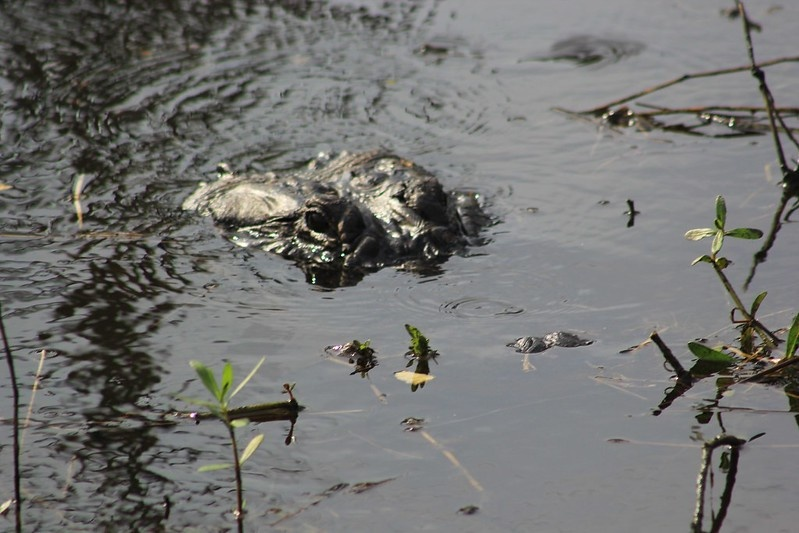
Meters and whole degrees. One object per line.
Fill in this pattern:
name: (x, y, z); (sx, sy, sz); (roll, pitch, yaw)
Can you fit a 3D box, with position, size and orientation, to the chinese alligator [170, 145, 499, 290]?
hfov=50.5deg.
chinese alligator: (-0.726, -0.528, 8.363); (2.487, 0.447, 2.052); (13, 20, 43)
